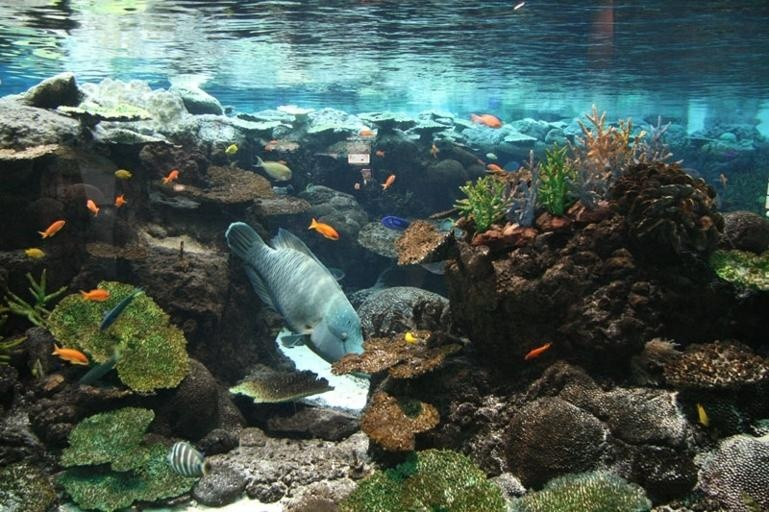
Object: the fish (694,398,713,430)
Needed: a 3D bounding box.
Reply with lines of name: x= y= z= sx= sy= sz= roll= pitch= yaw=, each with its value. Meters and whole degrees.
fish: x=5.447 y=2.712 z=10.952 sx=0.230 sy=0.147 sz=0.494 roll=-27 pitch=39 yaw=7
